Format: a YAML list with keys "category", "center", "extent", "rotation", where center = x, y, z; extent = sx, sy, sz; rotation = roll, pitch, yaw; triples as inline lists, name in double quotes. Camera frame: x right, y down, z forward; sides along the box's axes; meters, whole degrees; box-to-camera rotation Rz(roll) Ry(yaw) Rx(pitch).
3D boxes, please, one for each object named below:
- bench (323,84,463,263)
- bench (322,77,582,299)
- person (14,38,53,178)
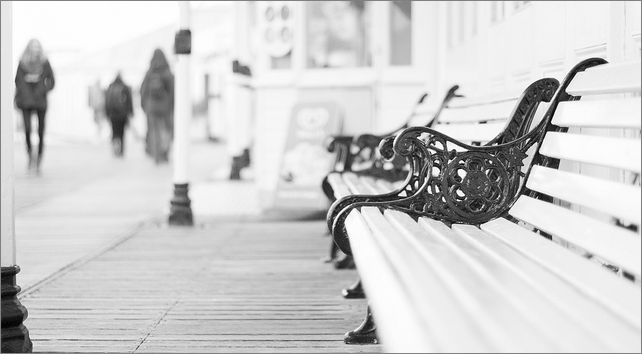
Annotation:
- category: "bench"
  center: [0.510, -0.042, 5.083]
  extent: [0.898, 1.034, 1.795]
  rotation: [1, -1, -8]
- category: "bench"
  center: [0.657, 0.000, 4.654]
  extent: [1.189, 0.895, 1.554]
  rotation: [1, -3, -7]
- category: "person"
  center: [-2.410, -0.698, 6.118]
  extent: [0.312, 0.962, 0.507]
  rotation: [-3, 16, -21]
